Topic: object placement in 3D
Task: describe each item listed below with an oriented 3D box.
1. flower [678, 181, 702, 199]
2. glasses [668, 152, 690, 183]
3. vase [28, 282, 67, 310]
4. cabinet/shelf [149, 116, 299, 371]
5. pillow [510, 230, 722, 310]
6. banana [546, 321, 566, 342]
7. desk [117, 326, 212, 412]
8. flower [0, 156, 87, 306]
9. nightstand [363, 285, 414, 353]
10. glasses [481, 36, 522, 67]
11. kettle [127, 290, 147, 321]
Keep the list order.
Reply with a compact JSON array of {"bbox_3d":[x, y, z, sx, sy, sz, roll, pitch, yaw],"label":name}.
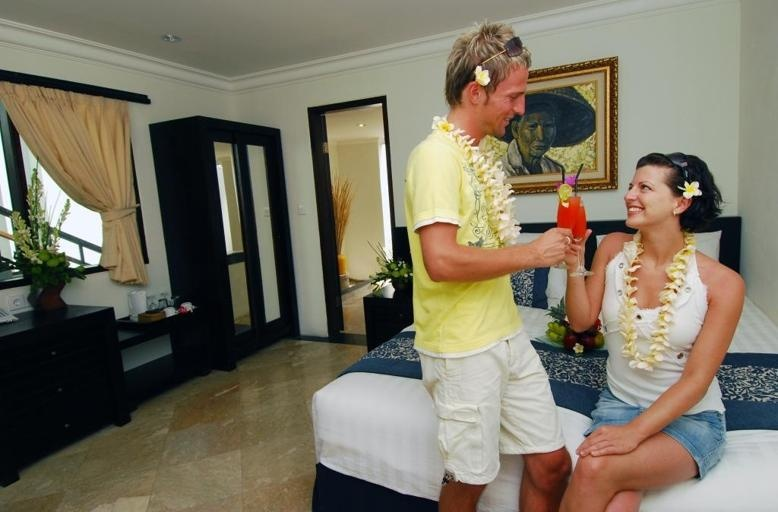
[{"bbox_3d":[1.528,-0.334,2.607,0.091,0.095,0.046,-2,7,18],"label":"flower"},{"bbox_3d":[1.478,-0.442,2.630,0.107,0.113,0.085,-46,13,-1],"label":"glasses"},{"bbox_3d":[-2.806,0.317,4.253,0.246,0.196,0.217,0,0,-41],"label":"vase"},{"bbox_3d":[-1.586,-0.138,5.235,1.277,2.423,0.665,-7,9,-23],"label":"cabinet/shelf"},{"bbox_3d":[1.672,0.217,4.199,1.019,0.653,0.906,2,7,32],"label":"pillow"},{"bbox_3d":[1.097,0.484,3.398,0.060,0.103,0.126,-13,53,-43],"label":"banana"},{"bbox_3d":[-2.208,0.965,4.780,0.383,0.591,0.720,-13,9,41],"label":"desk"},{"bbox_3d":[-2.904,-0.149,4.270,0.539,1.172,0.439,-9,10,-34],"label":"flower"},{"bbox_3d":[0.003,0.557,4.972,0.617,0.734,0.504,-1,5,12],"label":"nightstand"},{"bbox_3d":[0.562,-0.967,2.446,0.233,0.100,0.046,-24,5,-1],"label":"glasses"},{"bbox_3d":[-2.310,0.454,4.742,0.160,0.241,0.217,-8,9,-27],"label":"kettle"}]
